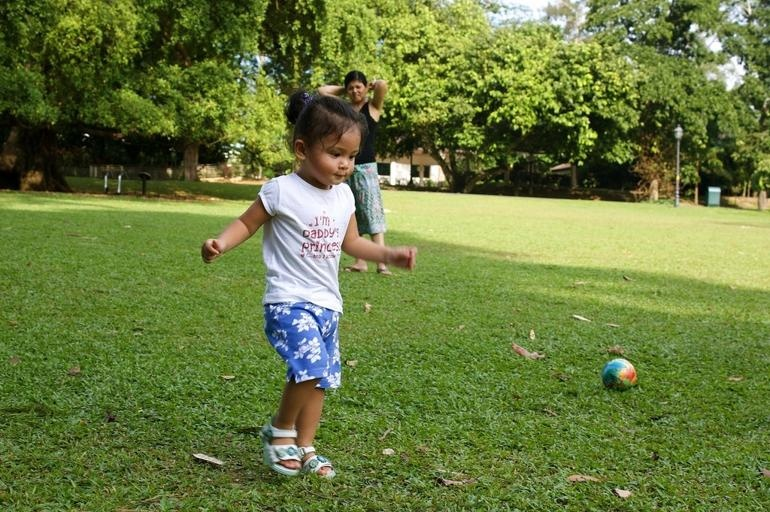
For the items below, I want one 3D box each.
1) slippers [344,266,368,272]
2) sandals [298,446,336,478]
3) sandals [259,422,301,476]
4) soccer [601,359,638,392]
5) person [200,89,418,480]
[{"bbox_3d":[-0.303,0.143,6.485,0.245,0.090,0.083,8,-5,-5],"label":"slippers"},{"bbox_3d":[-0.322,0.939,2.876,0.214,0.074,0.086,3,6,45],"label":"sandals"},{"bbox_3d":[-0.484,0.873,2.834,0.116,0.116,0.285,5,6,-39],"label":"sandals"},{"bbox_3d":[1.466,0.714,3.815,0.275,0.160,0.129,2,6,-16],"label":"soccer"},{"bbox_3d":[-0.374,0.116,2.937,0.886,1.730,0.451,2,5,-16],"label":"person"}]
